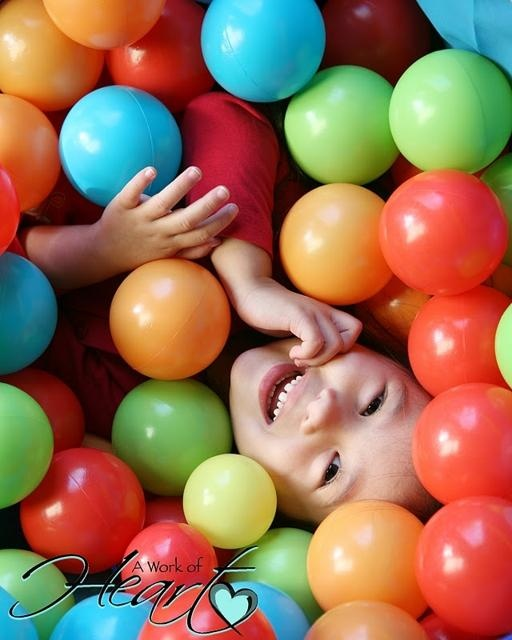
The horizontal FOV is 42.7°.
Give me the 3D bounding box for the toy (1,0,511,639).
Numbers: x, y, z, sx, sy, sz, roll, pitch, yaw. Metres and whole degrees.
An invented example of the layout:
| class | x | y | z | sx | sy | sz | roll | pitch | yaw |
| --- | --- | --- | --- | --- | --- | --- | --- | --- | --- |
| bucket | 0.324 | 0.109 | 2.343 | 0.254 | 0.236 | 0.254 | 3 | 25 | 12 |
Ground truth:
| class | x | y | z | sx | sy | sz | roll | pitch | yaw |
| --- | --- | --- | --- | --- | --- | --- | --- | --- | --- |
| toy | -0.049 | 0.017 | 1.215 | 0.662 | 0.470 | 0.892 | -33 | 64 | -13 |
